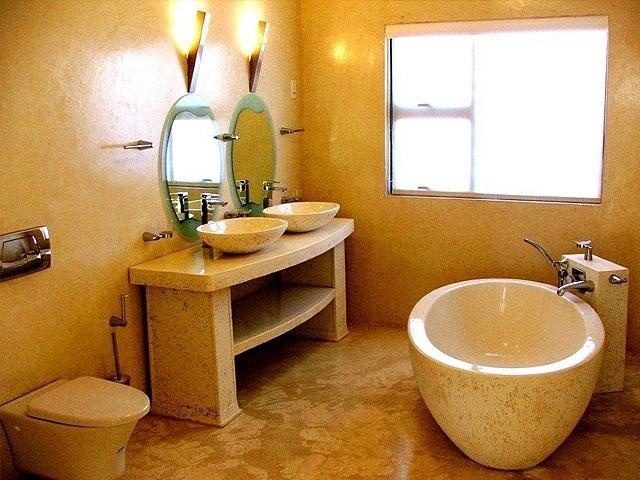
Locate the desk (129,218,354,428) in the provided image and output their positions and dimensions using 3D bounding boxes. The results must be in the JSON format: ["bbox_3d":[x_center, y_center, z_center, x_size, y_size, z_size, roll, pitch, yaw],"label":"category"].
[{"bbox_3d":[-0.390,0.438,3.649,0.706,0.947,1.777,6,16,27],"label":"desk"}]

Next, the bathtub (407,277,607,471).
[{"bbox_3d":[0.982,0.684,2.925,1.039,0.702,0.960,-12,14,-32],"label":"bathtub"}]
